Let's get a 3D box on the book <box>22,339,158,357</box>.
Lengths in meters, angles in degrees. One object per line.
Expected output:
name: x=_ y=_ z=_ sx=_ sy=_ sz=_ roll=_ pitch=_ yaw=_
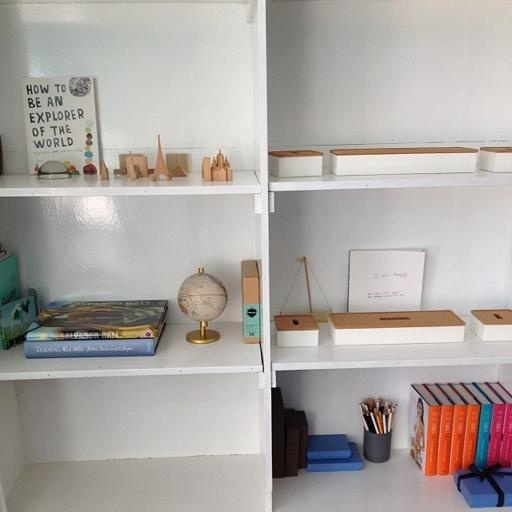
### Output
book: x=-0.461 y=0.258 z=1.380 sx=0.350 sy=0.054 sz=0.010 roll=0 pitch=12 yaw=-3
